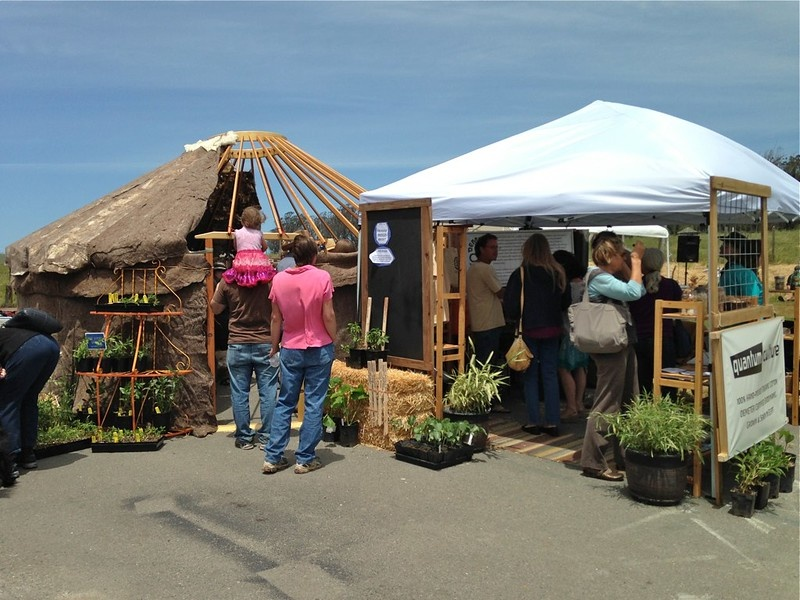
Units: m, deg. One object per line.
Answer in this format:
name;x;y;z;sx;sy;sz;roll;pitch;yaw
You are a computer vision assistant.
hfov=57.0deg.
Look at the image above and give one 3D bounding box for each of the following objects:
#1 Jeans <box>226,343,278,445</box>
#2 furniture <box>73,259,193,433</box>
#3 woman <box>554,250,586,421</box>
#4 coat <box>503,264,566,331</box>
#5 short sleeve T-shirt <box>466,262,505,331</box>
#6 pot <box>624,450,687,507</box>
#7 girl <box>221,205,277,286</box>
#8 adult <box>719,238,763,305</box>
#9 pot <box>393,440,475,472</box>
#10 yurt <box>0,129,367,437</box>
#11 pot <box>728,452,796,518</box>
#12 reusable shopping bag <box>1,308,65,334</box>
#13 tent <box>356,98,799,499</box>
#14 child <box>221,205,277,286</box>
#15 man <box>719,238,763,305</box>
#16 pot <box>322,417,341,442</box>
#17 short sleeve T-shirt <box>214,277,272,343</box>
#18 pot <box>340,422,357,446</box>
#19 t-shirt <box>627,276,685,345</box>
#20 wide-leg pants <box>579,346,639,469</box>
Jeans;-1.748;1.093;8.884;0.560;1.339;0.406;0;12;-6
furniture;-3.448;0.575;9.609;1.377;2.063;0.799;2;1;-28
woman;2.291;0.555;10.015;0.535;2.176;0.535;-2;2;-10
coat;1.737;-0.047;9.162;0.763;0.883;0.493;-5;16;-3
short sleeve T-shirt;1.141;-0.062;10.109;0.435;0.890;0.648;-6;5;-30
pot;2.585;1.724;7.481;0.595;0.501;0.636;-8;-1;0
girl;-1.789;-0.653;8.984;0.634;0.926;0.687;6;7;24
adult;4.174;-0.332;9.008;0.495;1.031;0.727;2;-5;23
pot;0.373;1.771;8.390;0.880;0.262;0.369;1;-1;6
yurt;-3.681;-0.470;11.997;5.342;4.023;5.629;-2;6;-5
pot;3.534;1.848;7.408;0.590;0.596;0.545;2;-5;0
reusable shopping bag;-4.146;0.232;8.276;0.418;0.169;0.338;8;-1;42
tent;2.324;-0.127;9.799;4.561;3.550;4.960;6;9;42
child;-1.800;-0.657;8.979;0.654;0.921;0.590;2;6;-11
man;4.174;-0.332;9.008;0.495;1.031;0.727;2;-5;23
pot;-0.847;1.612;9.198;0.274;0.332;0.272;0;0;0
short sleeve T-shirt;-1.853;0.099;8.835;0.947;1.012;0.517;-1;4;-9
pot;-0.618;1.659;9.048;0.235;0.265;0.246;0;-4;0
t-shirt;2.844;0.128;8.268;0.710;0.741;0.414;1;-4;3
wide-leg pants;2.355;1.125;7.954;0.482;1.471;0.326;33;-37;-15
